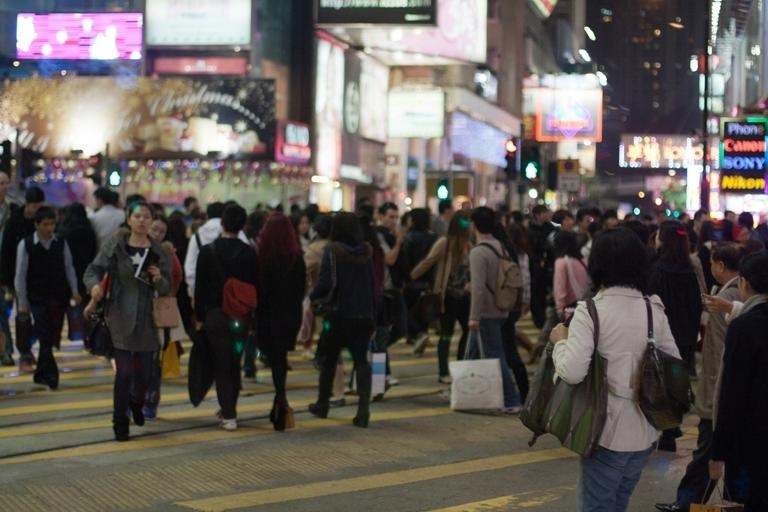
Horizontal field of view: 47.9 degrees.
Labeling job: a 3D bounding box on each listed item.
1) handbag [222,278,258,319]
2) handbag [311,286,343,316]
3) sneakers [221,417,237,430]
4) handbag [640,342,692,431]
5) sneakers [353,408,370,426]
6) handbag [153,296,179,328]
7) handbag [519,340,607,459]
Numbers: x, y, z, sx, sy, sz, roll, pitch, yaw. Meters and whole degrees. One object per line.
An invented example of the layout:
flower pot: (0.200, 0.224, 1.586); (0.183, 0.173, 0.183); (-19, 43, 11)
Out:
handbag: (-1.680, 0.525, 9.876); (0.379, 0.457, 0.218); (15, -17, -10)
handbag: (-0.680, 0.538, 10.371); (0.337, 0.341, 0.247); (0, -2, 12)
sneakers: (-1.820, 1.977, 10.173); (0.084, 0.109, 0.229); (-2, 1, -28)
handbag: (2.108, 0.979, 6.453); (0.454, 0.707, 0.176); (-1, 7, -17)
sneakers: (-0.268, 1.946, 10.423); (0.121, 0.234, 0.234); (0, 8, -25)
handbag: (-2.459, 0.625, 9.693); (0.295, 0.456, 0.131); (-5, -3, -27)
handbag: (1.361, 1.091, 6.507); (0.615, 0.799, 0.231); (6, 8, 34)
